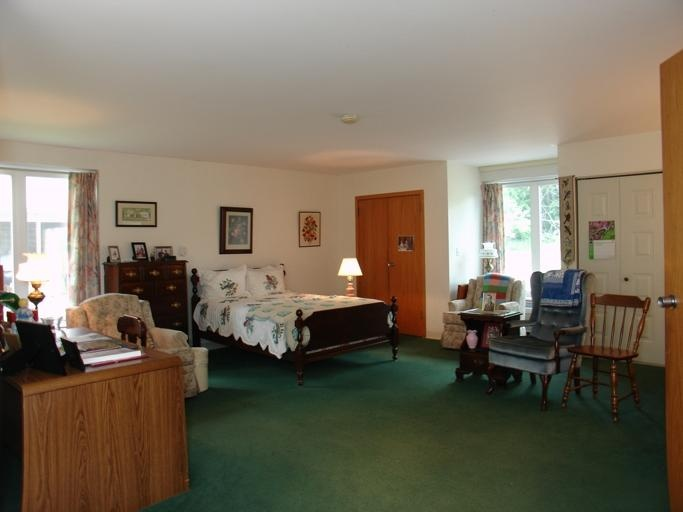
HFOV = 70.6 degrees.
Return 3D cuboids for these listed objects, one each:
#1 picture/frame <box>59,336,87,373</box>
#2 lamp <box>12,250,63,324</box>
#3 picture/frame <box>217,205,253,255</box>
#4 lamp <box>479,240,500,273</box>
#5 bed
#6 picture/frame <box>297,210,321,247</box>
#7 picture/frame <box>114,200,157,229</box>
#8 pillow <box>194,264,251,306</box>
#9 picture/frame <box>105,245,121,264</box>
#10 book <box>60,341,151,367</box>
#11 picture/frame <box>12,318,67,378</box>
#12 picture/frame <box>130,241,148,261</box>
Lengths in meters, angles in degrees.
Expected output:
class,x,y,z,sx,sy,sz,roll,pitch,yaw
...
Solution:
class,x,y,z,sx,sy,sz,roll,pitch,yaw
picture/frame,-1.728,0.639,3.087,0.163,0.162,0.060,17,29,41
lamp,-3.103,0.281,4.892,0.322,0.594,0.327,-4,-3,32
picture/frame,-1.688,-0.426,7.511,0.066,0.991,0.765,0,1,44
lamp,2.369,0.051,7.822,0.291,0.506,0.272,3,-8,-32
bed,-0.873,0.790,6.498,1.638,1.117,1.978,-2,1,-45
picture/frame,-0.591,-0.498,8.468,0.641,0.795,0.028,1,3,-43
picture/frame,-2.833,-0.576,6.551,0.020,0.287,0.396,-1,0,45
pillow,-1.709,0.402,7.097,0.720,0.520,0.226,-1,-1,-32
picture/frame,-2.977,-0.034,6.297,0.163,0.207,0.322,-3,6,-25
book,-1.625,0.662,3.231,0.291,0.101,0.283,-2,6,-41
picture/frame,-1.880,0.559,3.013,0.374,0.335,0.179,2,6,25
picture/frame,-2.755,-0.069,6.509,0.035,0.345,0.278,-27,-17,35
